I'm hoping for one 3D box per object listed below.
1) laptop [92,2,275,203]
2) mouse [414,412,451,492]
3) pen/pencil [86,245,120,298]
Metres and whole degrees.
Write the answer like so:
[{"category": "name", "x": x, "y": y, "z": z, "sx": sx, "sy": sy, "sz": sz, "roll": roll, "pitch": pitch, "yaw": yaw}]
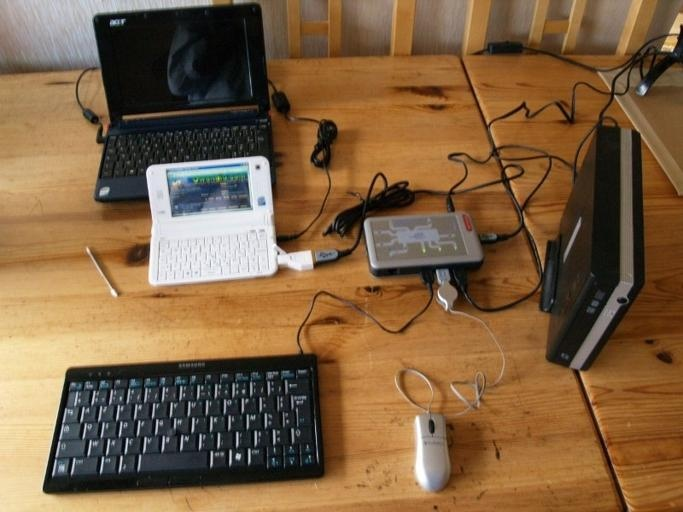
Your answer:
[{"category": "laptop", "x": -0.363, "y": -0.343, "z": 1.564, "sx": 0.506, "sy": 0.311, "sz": 0.438, "roll": -6, "pitch": 61, "yaw": -2}, {"category": "mouse", "x": 0.167, "y": 0.345, "z": 1.078, "sx": 0.062, "sy": 0.029, "sz": 0.123, "roll": 1, "pitch": 57, "yaw": 2}, {"category": "pen/pencil", "x": -0.498, "y": 0.038, "z": 1.278, "sx": 0.013, "sy": 0.019, "sz": 0.109, "roll": -34, "pitch": 71, "yaw": 4}]
